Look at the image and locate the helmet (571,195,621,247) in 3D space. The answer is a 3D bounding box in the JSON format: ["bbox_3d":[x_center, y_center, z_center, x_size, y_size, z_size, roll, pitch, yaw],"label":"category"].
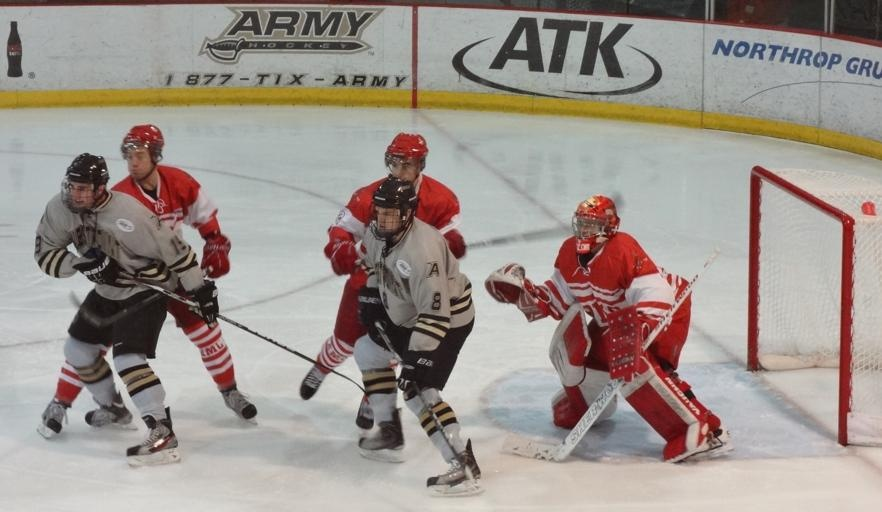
[{"bbox_3d":[1.120,-0.247,8.054,0.434,0.369,0.355,-10,15,-44],"label":"helmet"}]

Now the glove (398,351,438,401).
[{"bbox_3d":[-0.182,0.821,7.640,0.358,0.297,0.250,-3,27,-6],"label":"glove"}]

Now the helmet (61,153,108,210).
[{"bbox_3d":[-2.584,-0.552,7.917,0.338,0.357,0.397,11,20,11],"label":"helmet"}]

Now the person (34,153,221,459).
[{"bbox_3d":[-2.273,0.387,7.898,1.240,2.184,0.679,0,13,-18],"label":"person"}]

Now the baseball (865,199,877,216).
[{"bbox_3d":[3.202,-0.353,8.112,0.110,0.096,0.155,7,11,18],"label":"baseball"}]

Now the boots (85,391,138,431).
[{"bbox_3d":[-2.536,1.147,8.236,0.409,0.324,0.161,1,36,7],"label":"boots"}]

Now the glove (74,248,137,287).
[{"bbox_3d":[-2.434,0.096,7.868,0.352,0.136,0.281,30,30,30],"label":"glove"}]

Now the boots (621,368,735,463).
[{"bbox_3d":[1.643,1.157,7.928,0.845,0.556,0.335,47,33,-2],"label":"boots"}]

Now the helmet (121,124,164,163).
[{"bbox_3d":[-2.228,-0.851,8.251,0.343,0.264,0.256,9,13,1],"label":"helmet"}]

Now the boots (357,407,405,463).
[{"bbox_3d":[-0.428,1.295,8.035,0.460,0.371,0.200,-1,3,38],"label":"boots"}]

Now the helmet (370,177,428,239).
[{"bbox_3d":[-0.210,-0.305,7.737,0.407,0.324,0.285,-2,-10,-4],"label":"helmet"}]

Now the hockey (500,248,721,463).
[{"bbox_3d":[1.260,0.807,8.207,0.290,1.892,0.283,40,8,-14],"label":"hockey"}]

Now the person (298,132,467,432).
[{"bbox_3d":[-0.611,0.367,8.340,1.141,1.840,0.824,-7,-30,20],"label":"person"}]

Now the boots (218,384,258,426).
[{"bbox_3d":[-1.610,1.126,8.425,0.136,0.157,0.404,-43,46,-10],"label":"boots"}]

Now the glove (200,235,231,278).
[{"bbox_3d":[-1.729,0.004,8.472,0.287,0.298,0.141,8,-9,15],"label":"glove"}]

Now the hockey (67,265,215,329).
[{"bbox_3d":[-2.169,0.329,7.936,0.631,0.173,0.579,-23,54,-24],"label":"hockey"}]

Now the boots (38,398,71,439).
[{"bbox_3d":[-2.905,1.200,8.109,0.146,0.266,0.413,31,-3,-11],"label":"boots"}]

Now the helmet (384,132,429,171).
[{"bbox_3d":[-0.268,-0.779,8.178,0.287,0.271,0.321,2,-1,33],"label":"helmet"}]
